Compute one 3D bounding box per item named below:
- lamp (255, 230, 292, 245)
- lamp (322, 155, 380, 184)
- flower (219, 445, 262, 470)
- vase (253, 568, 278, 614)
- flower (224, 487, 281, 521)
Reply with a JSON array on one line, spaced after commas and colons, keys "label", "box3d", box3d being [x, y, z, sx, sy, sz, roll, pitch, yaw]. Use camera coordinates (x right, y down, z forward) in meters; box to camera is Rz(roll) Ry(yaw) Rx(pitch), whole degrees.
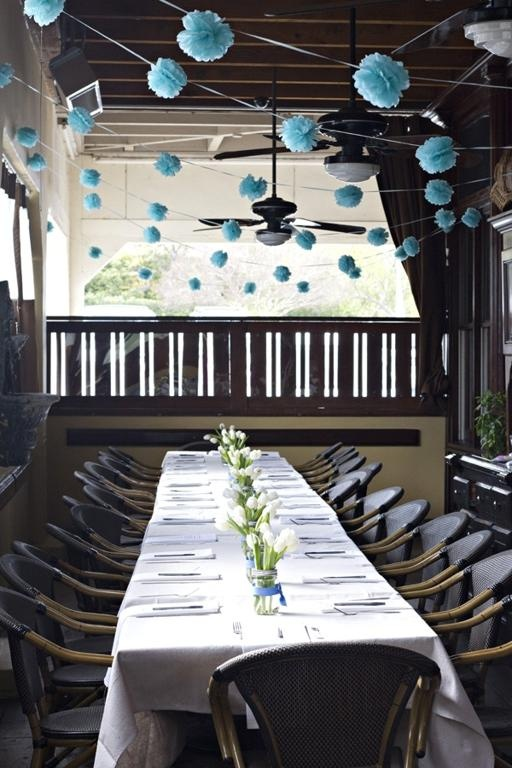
[{"label": "lamp", "box3d": [0.130, -1.212, 5.716, 0.296, 0.115, 0.375, -3, 5, 1]}, {"label": "lamp", "box3d": [0.529, -1.222, 3.977, 0.193, 0.092, 0.197, -2, 4, -13]}, {"label": "flower", "box3d": [-0.098, 0.435, 4.033, 0.238, 0.175, 0.263, 1, -4, 1]}, {"label": "vase", "box3d": [0.022, 0.621, 2.083, 0.070, 0.125, 0.118, -3, 5, 1]}, {"label": "flower", "box3d": [-0.020, 0.420, 2.392, 0.169, 0.130, 0.184, 2, -7, -23]}]
